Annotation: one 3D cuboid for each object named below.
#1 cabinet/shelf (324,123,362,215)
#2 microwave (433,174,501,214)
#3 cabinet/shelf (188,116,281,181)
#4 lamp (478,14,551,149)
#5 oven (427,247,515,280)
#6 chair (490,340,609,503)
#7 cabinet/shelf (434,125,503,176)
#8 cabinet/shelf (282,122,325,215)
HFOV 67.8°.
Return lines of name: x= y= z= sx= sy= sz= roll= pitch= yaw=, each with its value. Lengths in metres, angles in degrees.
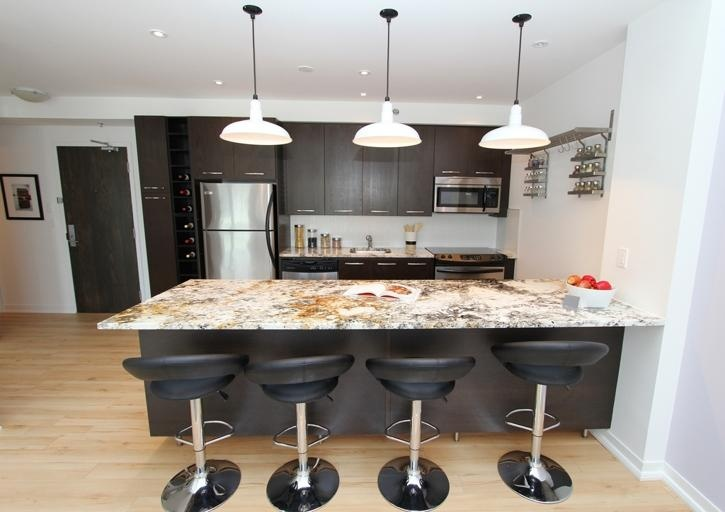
cabinet/shelf: x=-0.240 y=-1.037 z=6.437 sx=0.438 sy=1.055 sz=0.127 roll=0 pitch=13 yaw=3
microwave: x=1.250 y=-0.748 z=6.746 sx=0.958 sy=0.393 sz=0.492 roll=0 pitch=5 yaw=-2
cabinet/shelf: x=-1.380 y=-1.155 z=5.736 sx=1.124 sy=0.619 sz=0.352 roll=0 pitch=6 yaw=-1
lamp: x=1.346 y=-1.458 z=4.661 sx=0.526 sy=1.057 sz=1.479 roll=4 pitch=10 yaw=17
oven: x=1.158 y=0.125 z=6.583 sx=0.955 sy=0.316 sz=0.602 roll=0 pitch=13 yaw=-22
chair: x=1.388 y=1.196 z=4.125 sx=0.760 sy=1.261 sz=0.488 roll=4 pitch=13 yaw=19
cabinet/shelf: x=1.201 y=-1.240 z=6.737 sx=1.277 sy=0.603 sz=0.600 roll=0 pitch=5 yaw=-1
cabinet/shelf: x=-0.704 y=-1.046 z=6.414 sx=0.499 sy=1.059 sz=0.102 roll=-1 pitch=13 yaw=-4
